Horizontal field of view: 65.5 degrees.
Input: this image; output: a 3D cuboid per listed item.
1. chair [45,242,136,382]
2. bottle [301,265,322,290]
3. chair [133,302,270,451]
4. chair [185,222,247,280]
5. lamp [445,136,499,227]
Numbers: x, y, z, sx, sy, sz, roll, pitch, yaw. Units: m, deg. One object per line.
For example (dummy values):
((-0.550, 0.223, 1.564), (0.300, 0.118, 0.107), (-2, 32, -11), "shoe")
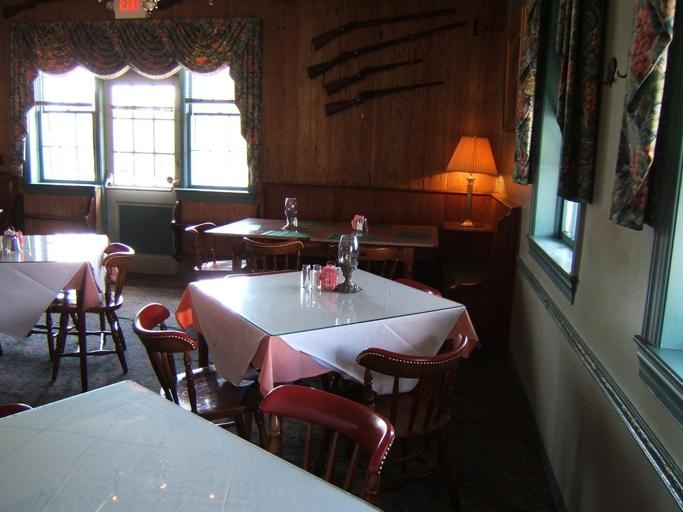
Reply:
((-1.767, 0.385, 3.825), (0.548, 0.904, 0.545), (5, 5, -27), "chair")
((-0.185, 0.119, 2.966), (0.142, 0.161, 0.084), (2, 5, 21), "bottle")
((-0.650, 0.654, 2.559), (0.506, 0.871, 0.534), (-11, 17, -20), "chair")
((-1.151, -0.051, 4.904), (0.375, 0.670, 0.414), (0, 20, 4), "chair")
((1.270, -0.737, 5.137), (0.467, 0.857, 0.687), (1, 11, 17), "lamp")
